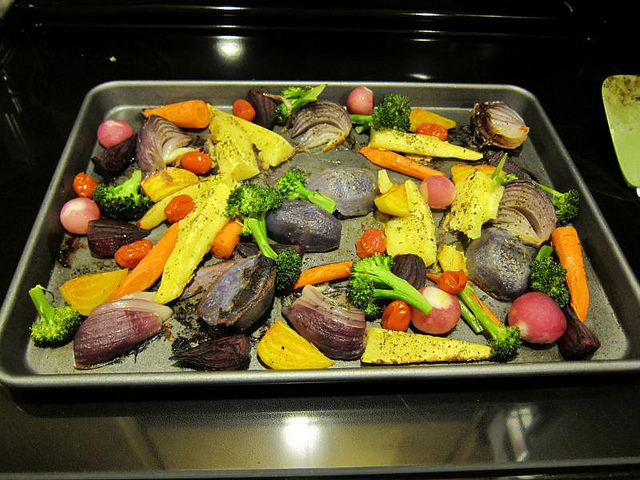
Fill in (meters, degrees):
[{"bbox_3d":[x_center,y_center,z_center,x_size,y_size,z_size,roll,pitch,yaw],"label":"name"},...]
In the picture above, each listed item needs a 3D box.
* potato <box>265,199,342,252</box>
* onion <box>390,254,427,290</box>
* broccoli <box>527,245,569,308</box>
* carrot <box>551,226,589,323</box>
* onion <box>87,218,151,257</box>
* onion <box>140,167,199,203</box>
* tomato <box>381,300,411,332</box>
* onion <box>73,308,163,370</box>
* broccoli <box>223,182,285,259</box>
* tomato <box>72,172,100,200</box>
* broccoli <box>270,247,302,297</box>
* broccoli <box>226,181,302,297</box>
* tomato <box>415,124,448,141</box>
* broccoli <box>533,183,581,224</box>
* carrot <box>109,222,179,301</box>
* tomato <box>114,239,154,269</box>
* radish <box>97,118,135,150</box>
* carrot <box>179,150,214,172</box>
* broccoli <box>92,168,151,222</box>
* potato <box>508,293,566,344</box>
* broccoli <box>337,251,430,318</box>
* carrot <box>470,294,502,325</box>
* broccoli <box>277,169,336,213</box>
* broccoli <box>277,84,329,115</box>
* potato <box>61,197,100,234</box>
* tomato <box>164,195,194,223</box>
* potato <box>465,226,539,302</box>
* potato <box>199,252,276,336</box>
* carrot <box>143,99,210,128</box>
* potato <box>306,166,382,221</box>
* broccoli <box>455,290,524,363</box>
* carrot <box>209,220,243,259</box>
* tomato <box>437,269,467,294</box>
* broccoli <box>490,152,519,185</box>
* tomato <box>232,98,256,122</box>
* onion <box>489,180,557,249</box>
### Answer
[{"bbox_3d":[-0.096,-0.086,3.101,0.507,0.287,0.320,9,55,16],"label":"potato"},{"bbox_3d":[0.527,0.170,2.857,0.148,0.082,0.211,-4,60,-6],"label":"onion"},{"bbox_3d":[1.323,0.217,2.929,0.258,0.151,0.279,10,60,-29],"label":"broccoli"},{"bbox_3d":[1.501,0.196,3.005,0.153,0.137,0.575,-5,71,10],"label":"carrot"},{"bbox_3d":[-1.225,-0.044,3.017,0.341,0.133,0.245,-5,52,-4],"label":"onion"},{"bbox_3d":[-0.970,-0.354,3.215,0.344,0.108,0.204,-20,86,-2],"label":"onion"},{"bbox_3d":[0.413,0.409,2.836,0.156,0.213,0.170,-6,87,8],"label":"tomato"},{"bbox_3d":[-1.105,0.519,2.688,0.463,0.163,0.263,-7,54,-7],"label":"onion"},{"bbox_3d":[-0.372,-0.168,3.016,0.450,0.245,0.307,41,21,12],"label":"broccoli"},{"bbox_3d":[-1.505,-0.350,3.202,0.136,0.117,0.176,-2,46,-9],"label":"tomato"},{"bbox_3d":[-0.189,0.197,2.834,0.139,0.187,0.235,-47,49,-1],"label":"broccoli"},{"bbox_3d":[-0.324,-0.060,3.007,0.310,0.355,0.727,-39,74,23],"label":"broccoli"},{"bbox_3d":[0.773,-0.764,3.457,0.152,0.084,0.132,14,15,20],"label":"tomato"},{"bbox_3d":[1.569,-0.240,3.225,0.342,0.184,0.218,25,18,25],"label":"broccoli"},{"bbox_3d":[-0.987,0.143,2.912,0.132,0.150,0.557,30,58,20],"label":"carrot"},{"bbox_3d":[-1.103,0.079,2.962,0.145,0.096,0.244,37,52,18],"label":"tomato"},{"bbox_3d":[-1.428,-0.748,3.464,0.263,0.282,0.147,-3,96,16],"label":"radish"},{"bbox_3d":[-0.806,-0.522,3.244,0.136,0.104,0.186,35,51,30],"label":"carrot"},{"bbox_3d":[-1.223,-0.269,3.085,0.268,0.153,0.317,21,43,-6],"label":"broccoli"},{"bbox_3d":[1.248,0.422,2.866,0.348,0.223,0.336,3,29,14],"label":"potato"},{"bbox_3d":[0.378,0.272,2.903,0.478,0.250,0.340,16,22,-22],"label":"broccoli"},{"bbox_3d":[0.949,0.401,2.850,0.040,0.024,0.209,-32,61,-19],"label":"carrot"},{"bbox_3d":[-0.076,-0.298,3.112,0.345,0.181,0.233,25,59,11],"label":"broccoli"},{"bbox_3d":[-0.127,-1.000,3.499,0.351,0.120,0.257,-1,53,-3],"label":"broccoli"},{"bbox_3d":[-1.508,-0.153,3.101,0.238,0.240,0.229,-2,56,-28],"label":"potato"},{"bbox_3d":[-0.856,-0.195,3.089,0.131,0.099,0.184,31,67,20],"label":"tomato"},{"bbox_3d":[1.107,0.114,2.960,0.468,0.152,0.439,28,64,36],"label":"potato"},{"bbox_3d":[-0.442,0.285,2.793,0.353,0.157,0.533,25,58,27],"label":"potato"},{"bbox_3d":[-1.002,-0.847,3.423,0.384,0.186,0.158,-1,87,16],"label":"carrot"},{"bbox_3d":[0.186,-0.319,3.143,0.353,0.124,0.385,-29,64,-17],"label":"potato"},{"bbox_3d":[0.928,0.469,2.865,0.245,0.223,0.489,-21,45,-4],"label":"broccoli"},{"bbox_3d":[-0.565,-0.011,3.020,0.132,0.092,0.264,35,71,-12],"label":"carrot"},{"bbox_3d":[0.756,0.228,2.838,0.142,0.071,0.120,20,52,28],"label":"tomato"},{"bbox_3d":[1.182,-0.457,3.200,0.164,0.179,0.171,-18,48,-12],"label":"broccoli"},{"bbox_3d":[-0.524,-0.898,3.482,0.162,0.122,0.124,38,17,23],"label":"tomato"},{"bbox_3d":[1.286,-0.161,3.225,0.361,0.127,0.427,-36,91,-1],"label":"onion"}]
